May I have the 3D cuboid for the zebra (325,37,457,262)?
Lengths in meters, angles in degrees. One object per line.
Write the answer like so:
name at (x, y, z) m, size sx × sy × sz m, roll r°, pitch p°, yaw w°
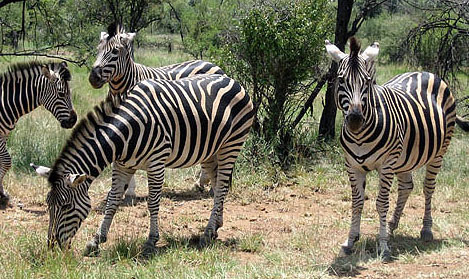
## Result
zebra at (3.307, 0.227, 11.654) m, size 1.772 × 4.332 × 5.519 m, roll 4°, pitch 6°, yaw 37°
